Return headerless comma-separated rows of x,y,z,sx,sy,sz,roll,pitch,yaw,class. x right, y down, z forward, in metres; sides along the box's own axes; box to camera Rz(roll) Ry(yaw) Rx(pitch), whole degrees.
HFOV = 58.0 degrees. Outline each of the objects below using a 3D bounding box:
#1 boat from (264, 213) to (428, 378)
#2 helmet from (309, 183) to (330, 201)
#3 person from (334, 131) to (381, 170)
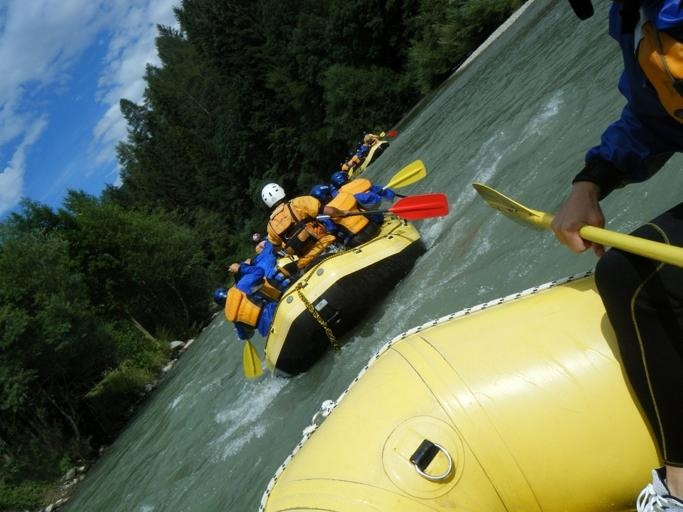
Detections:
0.141,0.389,7.634,2.086,0.746,1.234,-45,1,-40,boat
-0.279,-0.822,8.184,0.234,0.232,0.158,-36,-17,-35,helmet
0.720,-3.273,19.198,1.499,0.567,1.097,-43,2,34,person
